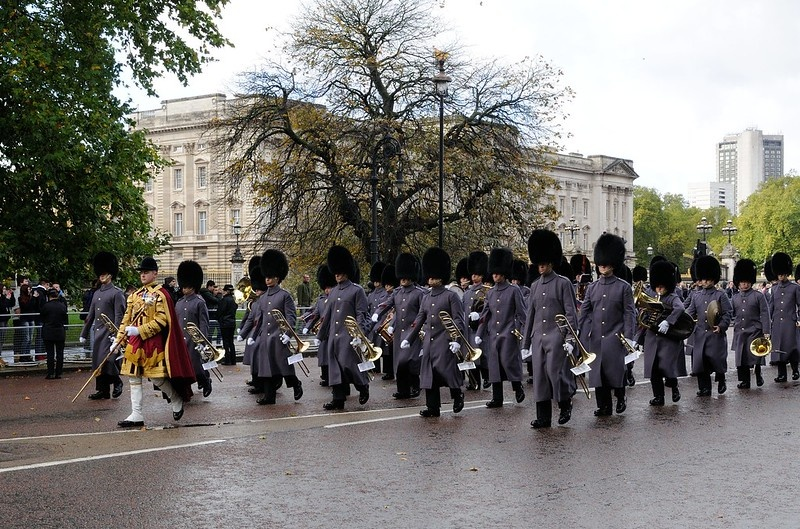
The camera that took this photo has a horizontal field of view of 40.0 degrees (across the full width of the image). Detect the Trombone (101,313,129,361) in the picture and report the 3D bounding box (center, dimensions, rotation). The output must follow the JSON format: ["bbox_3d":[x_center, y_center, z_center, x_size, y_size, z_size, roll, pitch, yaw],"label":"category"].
[{"bbox_3d":[-5.416,1.416,20.953,0.435,1.010,0.284,-25,-37,-2],"label":"Trombone"}]

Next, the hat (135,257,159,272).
[{"bbox_3d":[-4.444,0.004,19.465,0.301,0.250,0.434,-3,11,-16],"label":"hat"}]

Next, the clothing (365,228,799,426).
[{"bbox_3d":[4.586,0.996,20.994,6.846,3.613,1.708,-10,16,-43],"label":"clothing"}]

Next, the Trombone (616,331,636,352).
[{"bbox_3d":[4.045,1.406,19.547,0.380,0.183,0.227,32,8,38],"label":"Trombone"}]

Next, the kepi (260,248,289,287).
[{"bbox_3d":[-2.473,0.148,22.086,0.569,0.697,0.223,32,48,30],"label":"kepi"}]

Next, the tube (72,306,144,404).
[{"bbox_3d":[-5.683,1.842,21.574,0.713,1.908,0.304,15,5,0],"label":"tube"}]

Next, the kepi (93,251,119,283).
[{"bbox_3d":[-5.797,0.060,21.710,0.454,0.562,0.180,3,10,-15],"label":"kepi"}]

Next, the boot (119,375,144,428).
[{"bbox_3d":[-4.693,2.385,19.196,0.428,0.890,0.930,-3,12,-14],"label":"boot"}]

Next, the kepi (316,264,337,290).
[{"bbox_3d":[-1.669,0.295,25.299,0.240,0.621,0.515,-2,-8,-32],"label":"kepi"}]

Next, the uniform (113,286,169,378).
[{"bbox_3d":[-4.443,1.182,19.263,0.871,1.537,0.879,-3,12,-13],"label":"uniform"}]

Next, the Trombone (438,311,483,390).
[{"bbox_3d":[1.019,1.535,20.308,0.765,1.353,0.612,-27,-5,3],"label":"Trombone"}]

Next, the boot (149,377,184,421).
[{"bbox_3d":[-4.093,2.365,19.432,0.519,0.863,0.577,-3,12,-13],"label":"boot"}]

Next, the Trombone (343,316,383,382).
[{"bbox_3d":[-0.801,1.573,20.599,0.614,1.112,0.598,-37,1,-6],"label":"Trombone"}]
